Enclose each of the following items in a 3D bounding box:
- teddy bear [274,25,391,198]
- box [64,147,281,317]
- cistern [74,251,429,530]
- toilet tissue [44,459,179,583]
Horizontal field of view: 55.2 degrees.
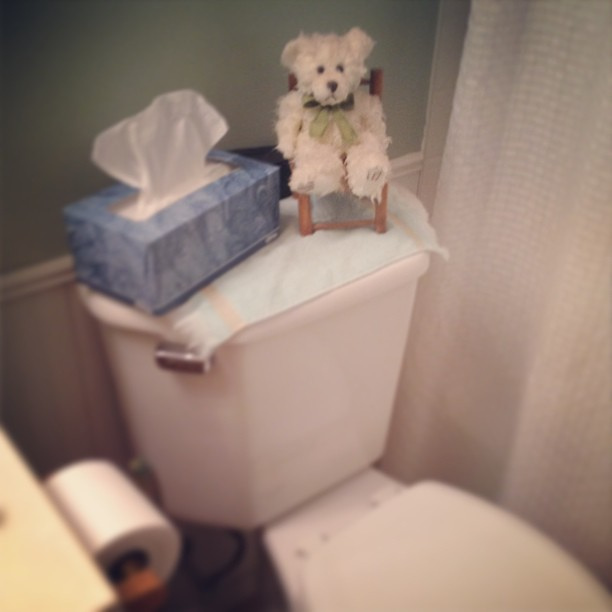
[{"bbox_3d":[0.025,-0.190,0.578,0.110,0.151,0.115,8,31,17],"label":"teddy bear"},{"bbox_3d":[-0.169,-0.090,0.681,0.241,0.160,0.194,-25,47,-33],"label":"box"},{"bbox_3d":[-0.059,0.081,0.751,0.430,0.343,0.312,-24,32,-36],"label":"cistern"},{"bbox_3d":[-0.133,0.141,0.444,0.075,0.087,0.095,-32,43,-20],"label":"toilet tissue"}]
